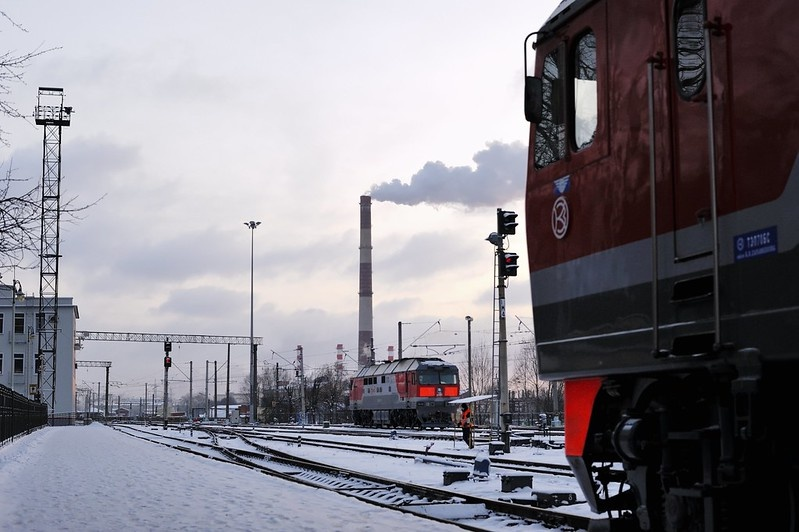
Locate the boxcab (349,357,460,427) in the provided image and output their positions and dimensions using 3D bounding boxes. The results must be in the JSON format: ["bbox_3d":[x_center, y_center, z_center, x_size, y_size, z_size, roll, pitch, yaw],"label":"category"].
[{"bbox_3d":[0.601,7.419,55.049,3.036,4.540,13.039,2,-11,-19],"label":"boxcab"}]

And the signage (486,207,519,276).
[{"bbox_3d":[2.683,-0.508,24.920,0.778,1.897,0.359,-1,-4,12],"label":"signage"}]
